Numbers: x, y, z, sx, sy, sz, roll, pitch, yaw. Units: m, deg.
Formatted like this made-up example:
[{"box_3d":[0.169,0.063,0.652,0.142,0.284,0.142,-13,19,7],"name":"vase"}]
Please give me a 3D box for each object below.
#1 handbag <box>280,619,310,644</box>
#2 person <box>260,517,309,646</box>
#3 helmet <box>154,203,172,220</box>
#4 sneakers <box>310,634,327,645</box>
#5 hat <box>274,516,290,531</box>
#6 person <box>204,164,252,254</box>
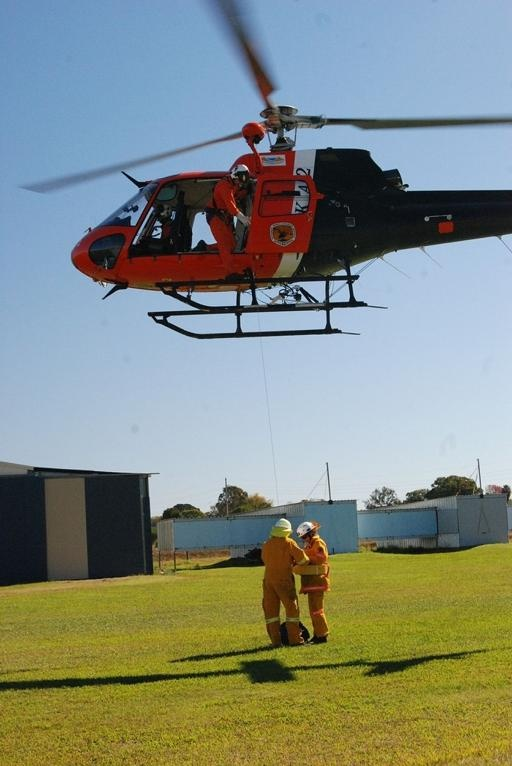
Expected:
[{"box_3d":[0.476,3.072,9.227,0.267,0.317,0.327,-3,-31,2],"name":"handbag"},{"box_3d":[0.340,2.402,9.164,0.573,1.462,0.417,-4,-8,-1],"name":"person"},{"box_3d":[-1.431,-2.642,11.720,0.178,0.216,0.233,21,12,33],"name":"helmet"},{"box_3d":[0.737,3.075,9.087,0.181,0.150,0.084,5,-11,-8],"name":"sneakers"},{"box_3d":[0.286,1.740,9.287,0.195,0.117,0.238,-2,0,-40],"name":"hat"},{"box_3d":[-0.367,-2.547,11.186,0.670,1.172,0.992,-1,-8,-22],"name":"person"}]
